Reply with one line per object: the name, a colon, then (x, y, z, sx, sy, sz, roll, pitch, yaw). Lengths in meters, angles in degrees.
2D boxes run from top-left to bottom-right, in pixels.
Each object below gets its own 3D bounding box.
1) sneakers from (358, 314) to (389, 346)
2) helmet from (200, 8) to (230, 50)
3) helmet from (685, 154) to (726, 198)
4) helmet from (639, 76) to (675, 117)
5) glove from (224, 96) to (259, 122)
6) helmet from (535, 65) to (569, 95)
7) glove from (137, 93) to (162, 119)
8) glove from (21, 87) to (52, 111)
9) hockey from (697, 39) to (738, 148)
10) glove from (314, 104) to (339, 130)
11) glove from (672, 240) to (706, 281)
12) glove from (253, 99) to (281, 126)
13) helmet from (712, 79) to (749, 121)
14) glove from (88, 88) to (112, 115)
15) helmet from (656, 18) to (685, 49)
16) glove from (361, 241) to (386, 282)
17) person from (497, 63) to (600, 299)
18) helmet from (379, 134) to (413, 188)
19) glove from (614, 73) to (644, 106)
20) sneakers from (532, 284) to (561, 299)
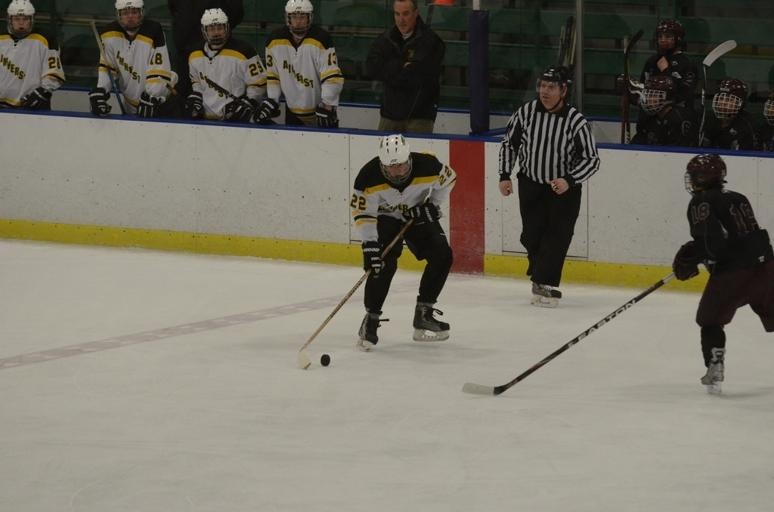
sneakers: (-0.120, 0.521, 7.053, 0.159, 0.267, 0.132, -2, 18, -14)
helmet: (-1.617, -2.117, 9.433, 0.306, 0.335, 0.366, -4, 17, -4)
helmet: (1.979, -0.519, 6.246, 0.286, 0.248, 0.238, -4, 4, 43)
helmet: (2.317, -1.376, 8.549, 0.330, 0.287, 0.231, -14, 18, -25)
glove: (-1.390, -1.398, 9.551, 0.227, 0.300, 0.116, 23, -21, 16)
helmet: (1.325, -1.383, 7.951, 0.241, 0.221, 0.323, 3, 16, 5)
glove: (-2.322, -1.485, 9.884, 0.194, 0.246, 0.381, 9, 18, 23)
glove: (-3.550, -1.589, 10.192, 0.261, 0.231, 0.219, -8, 19, -30)
hockey: (2.920, -1.405, 8.876, 0.499, 0.109, 1.516, 0, 43, 15)
glove: (-0.531, -1.284, 9.336, 0.248, 0.220, 0.178, 12, 11, 18)
glove: (1.825, 0.021, 6.152, 0.101, 0.238, 0.179, 9, 44, -36)
glove: (-1.119, -1.350, 9.465, 0.226, 0.260, 0.117, 28, -10, 42)
helmet: (2.881, -1.303, 8.483, 0.253, 0.294, 0.341, 9, 11, 34)
glove: (-2.824, -1.509, 9.870, 0.211, 0.121, 0.308, -5, 49, 0)
helmet: (2.503, -1.975, 8.975, 0.311, 0.268, 0.228, -3, 6, -21)
glove: (-0.097, -0.007, 7.067, 0.155, 0.210, 0.239, -5, 9, -34)
person: (1.223, -0.572, 7.994, 0.518, 1.811, 0.739, -13, 23, -40)
helmet: (0.068, -0.668, 6.758, 0.251, 0.298, 0.301, -13, 47, 14)
glove: (2.160, -1.453, 8.946, 0.192, 0.320, 0.248, 4, 9, 14)
sneakers: (1.253, 0.267, 7.913, 0.206, 0.075, 0.108, 3, 15, 14)
